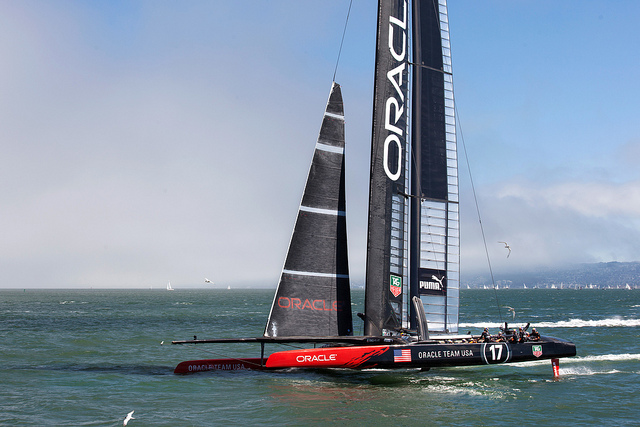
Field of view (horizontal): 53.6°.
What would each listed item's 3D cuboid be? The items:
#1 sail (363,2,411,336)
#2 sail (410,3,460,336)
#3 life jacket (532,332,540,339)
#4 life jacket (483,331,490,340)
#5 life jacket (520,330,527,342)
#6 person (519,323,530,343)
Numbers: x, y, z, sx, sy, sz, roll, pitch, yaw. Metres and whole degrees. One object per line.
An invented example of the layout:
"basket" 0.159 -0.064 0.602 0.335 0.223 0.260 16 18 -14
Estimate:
"sail" 3.346 -2.359 31.032 2.124 16.530 1.358 3 -8 -16
"sail" 5.774 -2.428 32.267 2.469 17.061 0.868 2 -8 -14
"life jacket" 10.293 5.852 30.440 0.308 0.304 0.351 6 -8 -42
"life jacket" 7.927 5.773 30.093 0.186 0.379 0.282 -5 -9 39
"life jacket" 9.719 5.861 30.281 0.383 0.375 0.105 5 -12 1
"person" 9.767 5.645 30.456 0.431 0.169 1.260 23 27 0
